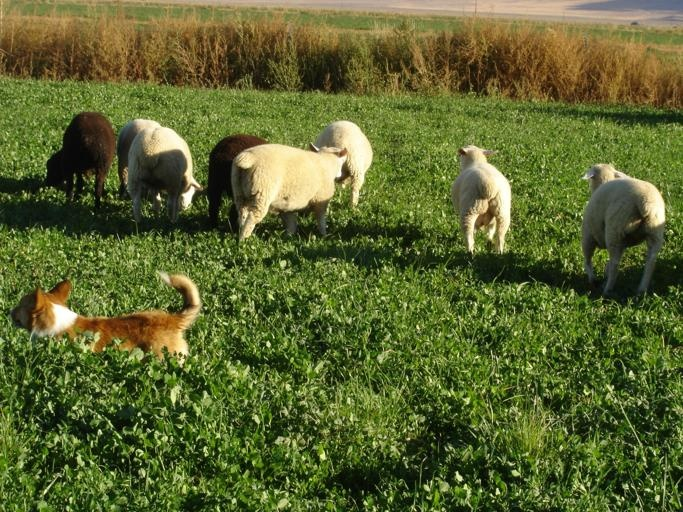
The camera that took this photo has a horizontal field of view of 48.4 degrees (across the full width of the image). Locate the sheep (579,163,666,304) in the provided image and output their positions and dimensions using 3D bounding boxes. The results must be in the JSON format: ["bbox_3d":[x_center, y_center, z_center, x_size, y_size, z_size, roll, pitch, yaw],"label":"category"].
[{"bbox_3d":[4.762,-0.506,13.392,1.019,2.381,2.605,3,6,0],"label":"sheep"}]

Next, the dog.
[{"bbox_3d":[-2.987,0.806,10.004,2.384,1.553,1.072,2,-3,-1],"label":"dog"}]
